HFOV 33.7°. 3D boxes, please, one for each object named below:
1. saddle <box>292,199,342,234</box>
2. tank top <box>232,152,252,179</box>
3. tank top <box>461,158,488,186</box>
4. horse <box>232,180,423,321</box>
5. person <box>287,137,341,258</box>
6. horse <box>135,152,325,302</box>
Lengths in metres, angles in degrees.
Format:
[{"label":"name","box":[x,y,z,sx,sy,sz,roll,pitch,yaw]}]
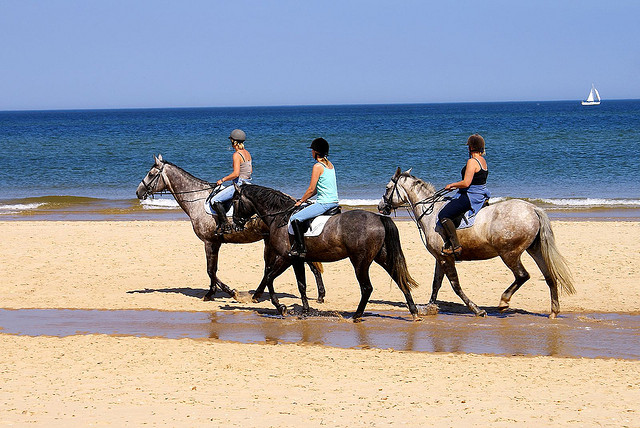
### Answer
[{"label":"saddle","box":[-0.048,0.052,28.620,1.199,0.363,0.821,-16,-34,12]},{"label":"tank top","box":[-2.104,-1.244,29.585,0.419,0.657,0.573,3,7,39]},{"label":"tank top","box":[4.172,-1.074,28.502,0.655,0.753,0.614,7,7,17]},{"label":"horse","box":[0.122,1.039,29.108,5.999,3.489,1.358,2,5,27]},{"label":"person","box":[-0.137,-0.412,28.655,1.348,3.234,1.079,1,8,0]},{"label":"horse","box":[-2.404,0.522,30.397,6.781,4.089,1.779,3,5,29]}]
